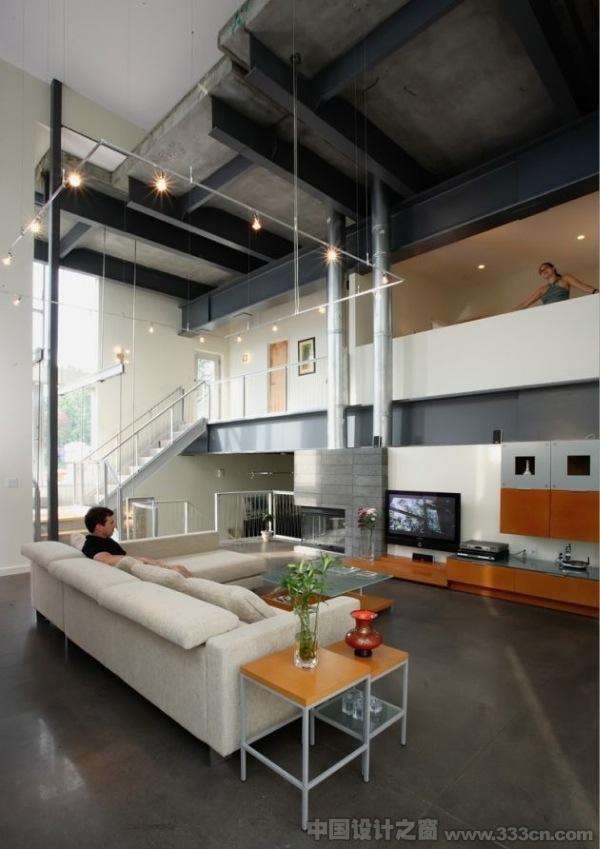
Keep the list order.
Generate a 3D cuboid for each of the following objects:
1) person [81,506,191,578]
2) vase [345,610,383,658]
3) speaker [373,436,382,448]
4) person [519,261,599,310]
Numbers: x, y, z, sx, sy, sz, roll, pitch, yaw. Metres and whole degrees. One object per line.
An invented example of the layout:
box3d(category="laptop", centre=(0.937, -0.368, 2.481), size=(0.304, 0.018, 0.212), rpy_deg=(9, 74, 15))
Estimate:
box3d(category="person", centre=(-1.257, 0.876, 4.747), size=(0.784, 0.547, 0.540), rpy_deg=(8, -10, -10))
box3d(category="vase", centre=(0.364, 1.107, 3.361), size=(0.222, 0.271, 0.208), rpy_deg=(8, -14, -33))
box3d(category="speaker", centre=(0.987, 0.221, 7.919), size=(0.105, 0.136, 0.112), rpy_deg=(0, -5, 24))
box3d(category="person", centre=(2.889, -1.529, 6.870), size=(0.467, 0.508, 0.978), rpy_deg=(1, 1, 7))
